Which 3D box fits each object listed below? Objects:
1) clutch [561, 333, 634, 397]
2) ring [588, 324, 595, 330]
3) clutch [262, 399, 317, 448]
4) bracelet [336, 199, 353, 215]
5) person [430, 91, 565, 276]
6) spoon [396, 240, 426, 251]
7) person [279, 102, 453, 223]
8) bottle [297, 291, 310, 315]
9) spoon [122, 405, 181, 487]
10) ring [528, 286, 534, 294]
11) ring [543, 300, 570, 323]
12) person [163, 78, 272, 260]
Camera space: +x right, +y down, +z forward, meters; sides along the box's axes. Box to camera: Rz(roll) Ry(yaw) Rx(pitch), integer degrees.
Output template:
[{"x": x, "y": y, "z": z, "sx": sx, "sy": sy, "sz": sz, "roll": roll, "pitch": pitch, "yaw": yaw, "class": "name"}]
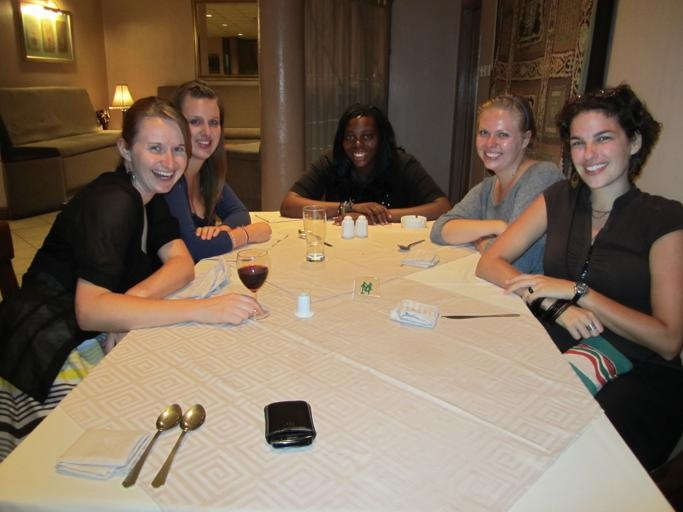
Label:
[{"x": 0.828, "y": 0.354, "z": 1.486, "sx": 0.199, "sy": 0.059, "sz": 0.173, "roll": -28, "pitch": 51, "yaw": -16, "class": "clutch"}, {"x": 0.870, "y": 0.244, "z": 1.558, "sx": 0.018, "sy": 0.018, "sz": 0.005, "roll": 2, "pitch": -11, "yaw": 4, "class": "ring"}, {"x": -0.111, "y": 0.363, "z": 0.980, "sx": 0.098, "sy": 0.040, "sz": 0.104, "roll": -5, "pitch": 21, "yaw": -9, "class": "clutch"}, {"x": 0.025, "y": -0.298, "z": 2.669, "sx": 0.072, "sy": 0.041, "sz": 0.101, "roll": 0, "pitch": 16, "yaw": 4, "class": "bracelet"}, {"x": 0.808, "y": -0.328, "z": 2.313, "sx": 0.545, "sy": 0.937, "sz": 0.591, "roll": 7, "pitch": 16, "yaw": 40, "class": "person"}, {"x": 0.324, "y": -0.063, "z": 2.126, "sx": 0.048, "sy": 0.038, "sz": 0.208, "roll": 8, "pitch": 8, "yaw": 28, "class": "spoon"}, {"x": 0.174, "y": -0.615, "z": 3.116, "sx": 1.103, "sy": 0.781, "sz": 0.678, "roll": 4, "pitch": 11, "yaw": 11, "class": "person"}, {"x": -0.121, "y": 0.144, "z": 1.444, "sx": 0.057, "sy": 0.066, "sz": 0.058, "roll": -4, "pitch": 13, "yaw": -17, "class": "bottle"}, {"x": -0.392, "y": 0.370, "z": 0.924, "sx": 0.031, "sy": 0.022, "sz": 0.147, "roll": -2, "pitch": 26, "yaw": 8, "class": "spoon"}, {"x": 0.708, "y": 0.126, "z": 1.680, "sx": 0.018, "sy": 0.019, "sz": 0.014, "roll": -46, "pitch": 23, "yaw": -25, "class": "ring"}, {"x": 0.770, "y": 0.191, "z": 1.609, "sx": 0.029, "sy": 0.073, "sz": 0.078, "roll": 43, "pitch": 30, "yaw": 22, "class": "ring"}, {"x": -0.728, "y": -0.442, "z": 2.395, "sx": 0.521, "sy": 0.845, "sz": 0.521, "roll": 9, "pitch": 12, "yaw": 27, "class": "person"}]
